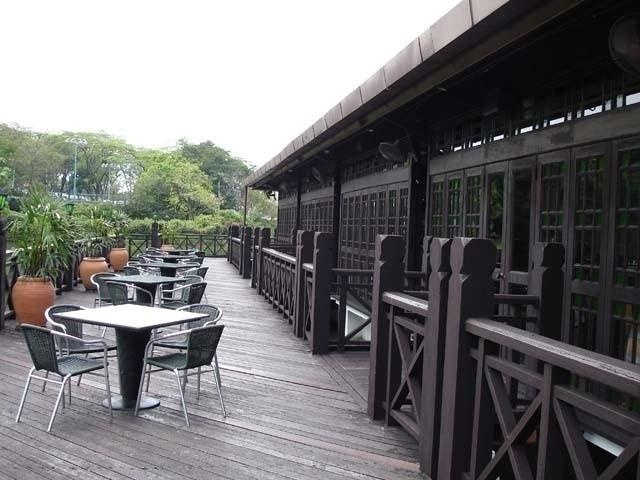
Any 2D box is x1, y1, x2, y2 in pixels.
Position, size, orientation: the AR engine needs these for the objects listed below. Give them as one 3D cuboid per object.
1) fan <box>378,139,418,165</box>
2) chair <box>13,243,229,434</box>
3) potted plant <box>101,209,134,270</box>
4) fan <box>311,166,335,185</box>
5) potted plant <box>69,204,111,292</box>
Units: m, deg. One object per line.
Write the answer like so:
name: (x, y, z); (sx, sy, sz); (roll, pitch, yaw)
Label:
fan: (1.217, -1.382, 7.521); (0.663, 0.285, 0.297); (26, -12, -1)
chair: (-1.827, 1.128, 4.577); (1.752, 0.909, 1.131); (1, 5, -8)
potted plant: (-6.055, 0.020, 14.662); (0.750, 1.752, 0.814); (-6, -8, -4)
fan: (0.025, -1.589, 11.828); (0.357, 0.465, 1.241); (0, 5, -10)
potted plant: (-5.662, 0.117, 12.341); (0.801, 1.878, 0.816); (5, 3, 21)
